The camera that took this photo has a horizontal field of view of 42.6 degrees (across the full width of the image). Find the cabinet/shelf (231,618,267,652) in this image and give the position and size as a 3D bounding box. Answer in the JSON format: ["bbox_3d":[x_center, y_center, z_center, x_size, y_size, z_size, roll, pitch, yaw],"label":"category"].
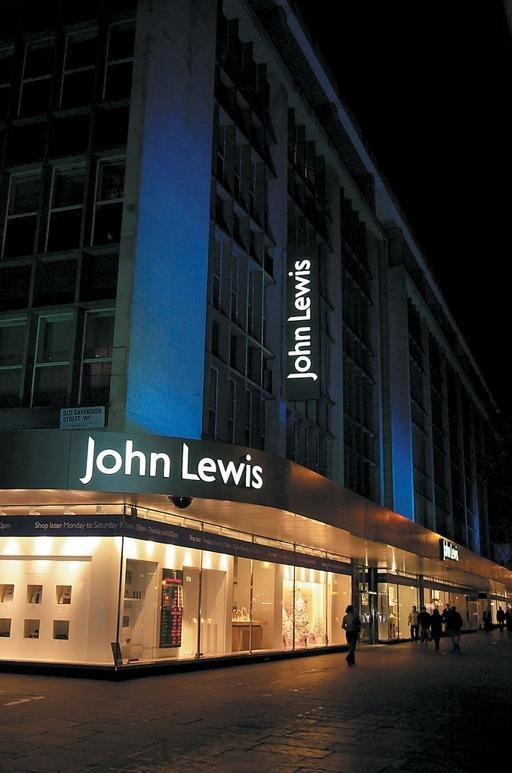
[{"bbox_3d":[-0.230,6.888,18.095,0.178,0.770,1.639,-8,-18,28],"label":"cabinet/shelf"}]

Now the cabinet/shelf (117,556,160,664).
[{"bbox_3d":[-2.435,4.676,13.814,0.398,1.974,1.560,-1,-16,7],"label":"cabinet/shelf"}]
